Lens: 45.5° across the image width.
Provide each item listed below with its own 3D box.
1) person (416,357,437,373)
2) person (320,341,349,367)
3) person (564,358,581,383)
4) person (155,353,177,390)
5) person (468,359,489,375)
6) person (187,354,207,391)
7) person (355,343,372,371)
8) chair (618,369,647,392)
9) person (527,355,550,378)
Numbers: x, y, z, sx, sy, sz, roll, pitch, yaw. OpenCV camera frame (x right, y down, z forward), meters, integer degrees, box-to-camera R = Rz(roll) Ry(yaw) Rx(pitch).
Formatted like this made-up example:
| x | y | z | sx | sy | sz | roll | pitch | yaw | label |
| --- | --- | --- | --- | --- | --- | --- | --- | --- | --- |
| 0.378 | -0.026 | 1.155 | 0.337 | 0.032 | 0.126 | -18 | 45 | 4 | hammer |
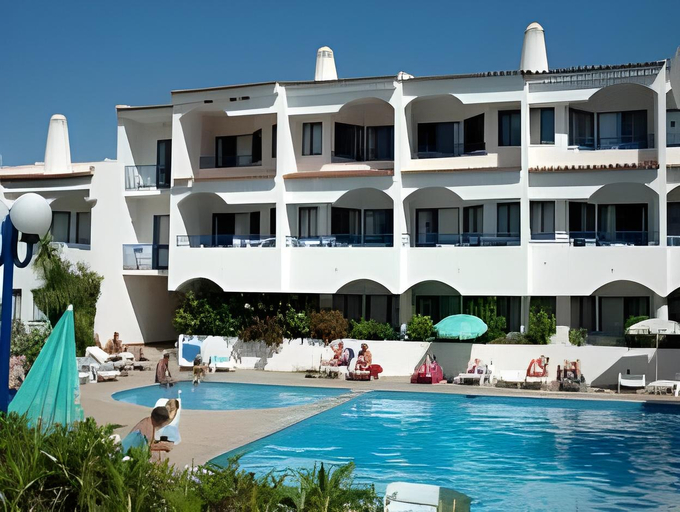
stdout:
| x | y | z | sx | sy | sz | roll | pitch | yaw | label |
| --- | --- | --- | --- | --- | --- | --- | --- | --- | --- |
| 3.570 | 4.305 | 32.235 | 0.577 | 0.287 | 0.780 | -26 | -4 | -13 | person |
| -0.187 | 4.094 | 33.604 | 1.154 | 1.370 | 0.785 | 6 | -10 | -14 | person |
| 8.629 | 4.252 | 30.049 | 0.642 | 0.731 | 0.758 | 0 | -4 | -21 | person |
| -6.653 | 4.560 | 31.174 | 0.806 | 1.644 | 0.734 | 5 | 7 | 7 | person |
| 5.500 | 4.445 | 31.692 | 0.764 | 0.373 | 0.492 | 15 | 23 | -47 | person |
| -5.638 | 4.546 | 32.406 | 0.611 | 1.222 | 1.372 | 0 | -4 | -11 | person |
| 0.972 | 4.086 | 32.769 | 0.630 | 1.045 | 0.627 | -1 | -4 | 6 | person |
| 10.732 | 4.609 | 29.695 | 0.821 | 0.609 | 0.652 | -4 | -13 | 21 | chair |
| 7.562 | 4.220 | 30.769 | 0.984 | 0.763 | 0.661 | 2 | -5 | -37 | person |
